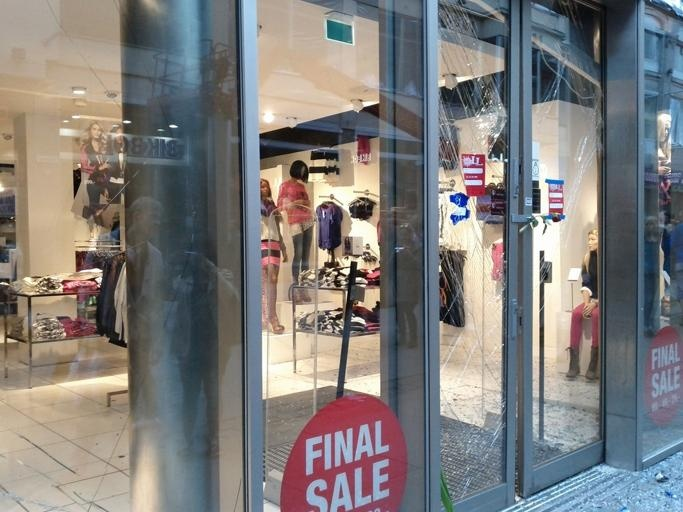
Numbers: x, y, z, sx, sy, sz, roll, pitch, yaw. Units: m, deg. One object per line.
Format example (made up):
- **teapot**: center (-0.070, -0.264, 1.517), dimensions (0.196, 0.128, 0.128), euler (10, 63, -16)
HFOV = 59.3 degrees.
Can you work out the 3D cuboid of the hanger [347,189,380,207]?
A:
- **hanger**: center (0.110, -0.242, 2.596), dimensions (0.073, 0.045, 0.074), euler (4, -2, -32)
